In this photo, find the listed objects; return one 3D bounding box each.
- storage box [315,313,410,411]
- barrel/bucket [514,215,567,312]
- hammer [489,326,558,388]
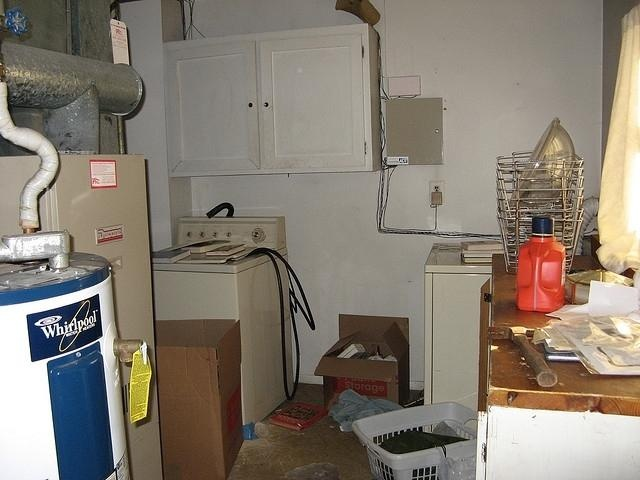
[{"bbox_3d":[0.289,0.704,3.117,0.521,0.539,0.527,-1,0,20],"label":"storage box"},{"bbox_3d":[0.671,0.088,1.593,0.109,0.308,0.127,5,10,8],"label":"barrel/bucket"},{"bbox_3d":[0.517,0.287,1.281,0.144,0.089,0.342,0,4,15],"label":"hammer"}]
